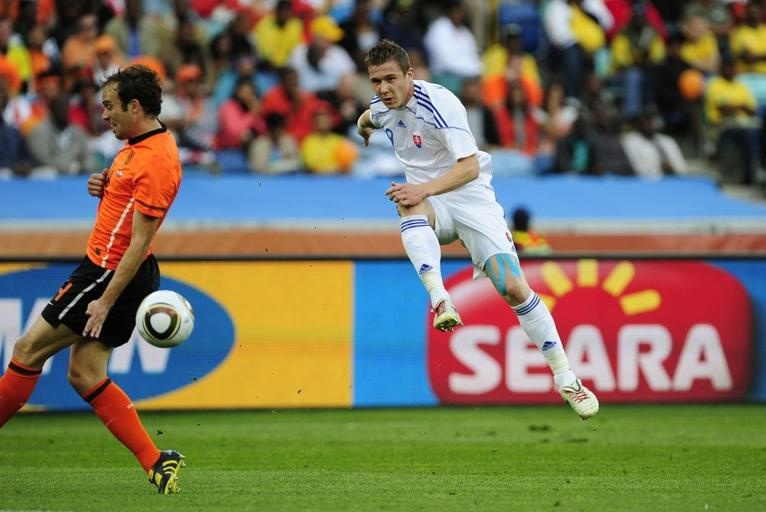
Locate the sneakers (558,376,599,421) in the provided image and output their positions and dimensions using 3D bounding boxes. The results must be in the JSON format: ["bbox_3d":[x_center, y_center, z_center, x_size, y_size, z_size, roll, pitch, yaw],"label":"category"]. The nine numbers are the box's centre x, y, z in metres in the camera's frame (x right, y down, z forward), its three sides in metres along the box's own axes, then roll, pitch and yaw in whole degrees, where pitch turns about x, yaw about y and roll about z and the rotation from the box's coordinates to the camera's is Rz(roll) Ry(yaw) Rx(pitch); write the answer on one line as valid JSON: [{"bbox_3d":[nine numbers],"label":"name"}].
[{"bbox_3d":[1.671,1.198,9.148,0.219,0.201,0.449,-41,59,2],"label":"sneakers"}]

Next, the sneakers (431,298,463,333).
[{"bbox_3d":[0.526,0.507,8.915,0.205,0.293,0.320,0,11,-2],"label":"sneakers"}]

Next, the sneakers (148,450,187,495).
[{"bbox_3d":[-1.716,1.682,8.519,0.197,0.166,0.430,4,67,8],"label":"sneakers"}]
